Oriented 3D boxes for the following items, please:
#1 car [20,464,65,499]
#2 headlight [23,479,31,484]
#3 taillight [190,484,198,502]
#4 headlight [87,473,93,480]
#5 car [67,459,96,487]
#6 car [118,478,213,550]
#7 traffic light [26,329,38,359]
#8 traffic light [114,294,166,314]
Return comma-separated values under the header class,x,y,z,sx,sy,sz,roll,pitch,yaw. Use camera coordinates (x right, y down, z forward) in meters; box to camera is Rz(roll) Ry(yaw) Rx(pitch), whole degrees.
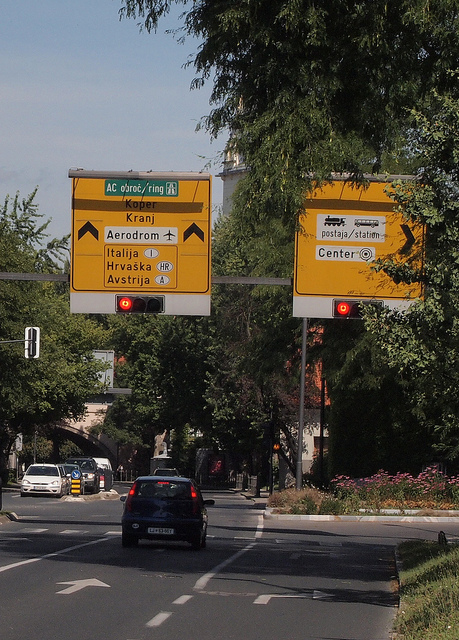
class,x,y,z,sx,sy,sz,roll,pitch,yaw
car,-7.503,6.521,45.213,1.718,1.268,1.522,2,-4,-10
headlight,-8.029,6.425,44.466,0.308,0.166,0.120,2,-4,-1
taillight,-0.647,3.108,20.096,0.141,0.289,0.420,1,-4,-1
headlight,-6.251,7.003,50.238,0.230,0.231,0.558,2,-5,-6
car,-6.492,6.902,50.763,0.805,0.890,1.546,0,-12,0
car,-1.149,3.520,20.285,0.948,0.834,1.558,1,0,2
traffic light,-7.187,0.862,40.858,0.391,0.960,0.897,2,-4,-10
traffic light,-1.472,-0.274,18.378,0.845,0.327,0.203,1,-4,5
